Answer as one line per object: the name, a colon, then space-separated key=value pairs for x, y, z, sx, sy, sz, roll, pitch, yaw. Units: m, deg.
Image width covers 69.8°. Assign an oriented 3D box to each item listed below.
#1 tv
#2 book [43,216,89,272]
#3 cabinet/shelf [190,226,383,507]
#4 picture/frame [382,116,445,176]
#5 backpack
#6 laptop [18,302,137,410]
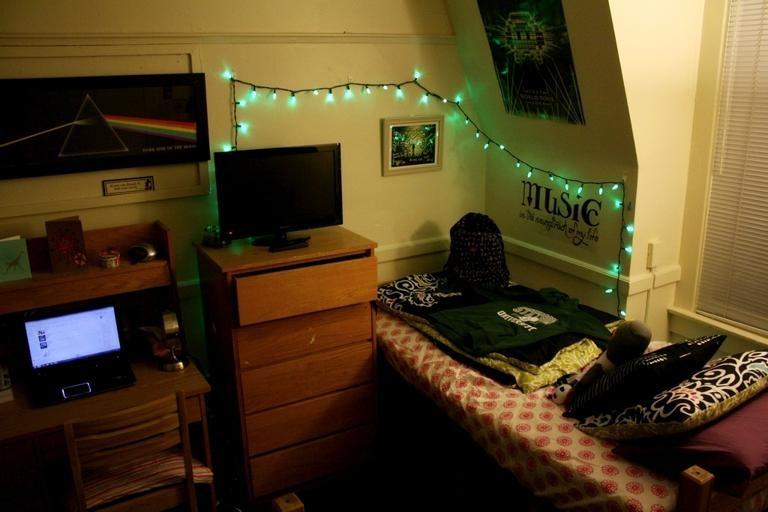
tv: x=-0.632 y=-0.358 z=3.196 sx=0.585 sy=0.419 sz=0.175 roll=-9 pitch=12 yaw=-26
book: x=-1.658 y=-0.055 z=2.844 sx=0.240 sy=0.303 sz=0.177 roll=-6 pitch=18 yaw=-18
cabinet/shelf: x=-0.568 y=0.640 z=3.429 sx=0.992 sy=1.390 sz=0.879 roll=-9 pitch=12 yaw=-38
picture/frame: x=0.187 y=-0.770 z=3.786 sx=0.419 sy=0.336 sz=0.033 roll=-7 pitch=16 yaw=-25
backpack: x=0.596 y=-0.036 z=3.792 sx=0.441 sy=0.473 sz=0.473 roll=-8 pitch=28 yaw=-8
laptop: x=-1.562 y=0.489 z=2.776 sx=0.458 sy=0.359 sz=0.351 roll=-13 pitch=18 yaw=-30
